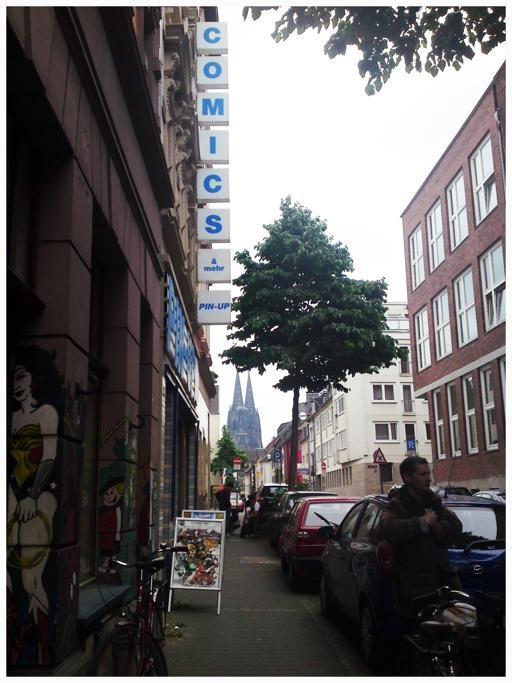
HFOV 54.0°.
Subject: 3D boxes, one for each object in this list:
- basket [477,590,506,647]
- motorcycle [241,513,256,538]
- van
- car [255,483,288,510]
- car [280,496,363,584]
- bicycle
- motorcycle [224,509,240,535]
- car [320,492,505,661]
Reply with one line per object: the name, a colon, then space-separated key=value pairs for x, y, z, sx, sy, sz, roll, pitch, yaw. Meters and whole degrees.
basket: x=1.307 y=1.537 z=2.784 sx=0.126 sy=0.215 sz=0.074 roll=-11 pitch=-43 yaw=30
motorcycle: x=-0.350 y=8.962 z=24.389 sx=0.617 sy=1.350 sz=1.156 roll=2 pitch=-12 yaw=-1
van: x=1.467 y=5.786 z=16.602 sx=1.758 sy=2.157 sz=3.611 roll=0 pitch=-7 yaw=-4
car: x=0.745 y=7.706 z=24.899 sx=0.859 sy=1.110 sz=1.861 roll=1 pitch=-28 yaw=0
car: x=1.191 y=4.001 z=9.707 sx=1.154 sy=1.423 sz=2.637 roll=0 pitch=-7 yaw=-3
bicycle: x=0.888 y=1.387 z=2.450 sx=0.269 sy=0.415 sz=0.587 roll=-2 pitch=-18 yaw=14
motorcycle: x=-1.249 y=9.554 z=26.523 sx=0.632 sy=1.299 sz=5.007 roll=1 pitch=-18 yaw=-3
car: x=1.414 y=2.119 z=5.131 sx=1.096 sy=1.191 sz=2.272 roll=1 pitch=-15 yaw=-2
